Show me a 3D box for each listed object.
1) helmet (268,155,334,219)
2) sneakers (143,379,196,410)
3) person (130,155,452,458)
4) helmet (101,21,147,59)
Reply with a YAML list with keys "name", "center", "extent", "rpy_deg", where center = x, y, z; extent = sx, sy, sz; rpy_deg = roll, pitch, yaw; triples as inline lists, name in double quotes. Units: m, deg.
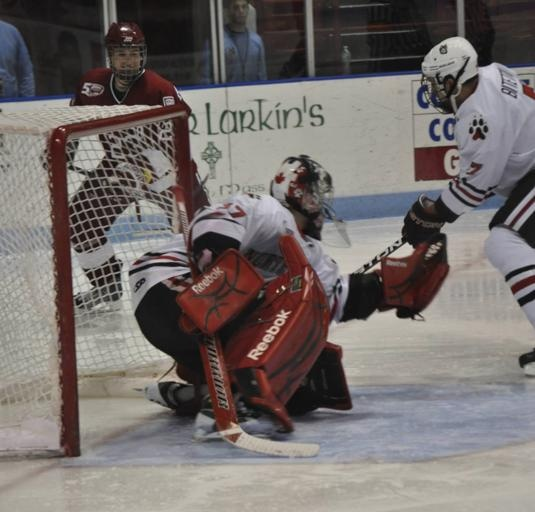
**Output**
- name: "helmet"
  center: [0.110, -0.228, 2.755]
  extent: [0.302, 0.188, 0.205]
  rpy_deg: [-1, 10, -13]
- name: "sneakers"
  center: [-0.297, 0.449, 2.670]
  extent: [0.182, 0.055, 0.081]
  rpy_deg: [9, -22, 15]
- name: "person"
  center: [0.140, 0.217, 2.818]
  extent: [1.307, 0.904, 0.697]
  rpy_deg: [2, -25, 13]
- name: "helmet"
  center: [-0.683, -1.048, 3.984]
  extent: [0.176, 0.135, 0.189]
  rpy_deg: [2, -14, -29]
